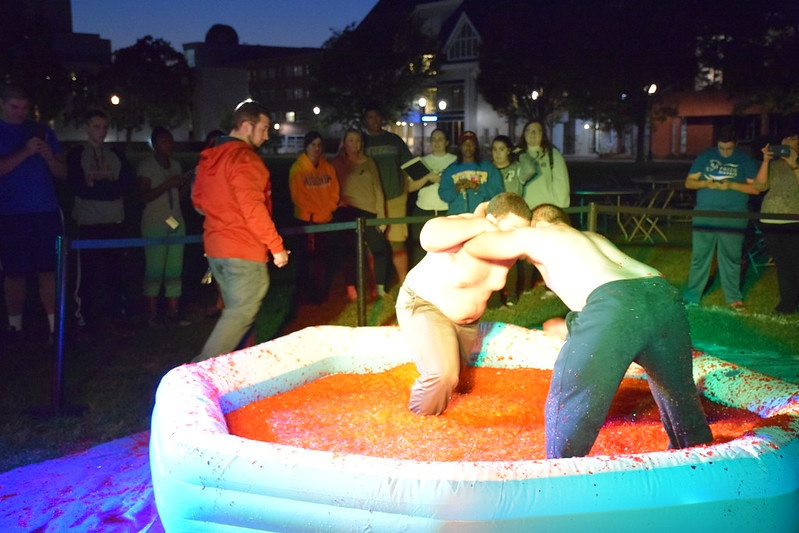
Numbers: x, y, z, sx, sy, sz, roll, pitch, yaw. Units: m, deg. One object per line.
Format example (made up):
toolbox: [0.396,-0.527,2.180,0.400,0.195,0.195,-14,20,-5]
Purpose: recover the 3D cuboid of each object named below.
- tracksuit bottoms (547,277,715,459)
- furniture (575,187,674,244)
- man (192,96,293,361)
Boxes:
tracksuit bottoms: [1.389,0.662,3.734,0.922,1.073,0.387,-6,18,-11]
furniture: [4.210,-0.942,11.283,0.864,0.717,1.312,5,14,27]
man: [-1.291,-0.164,5.018,0.758,1.739,0.697,-2,13,-6]
